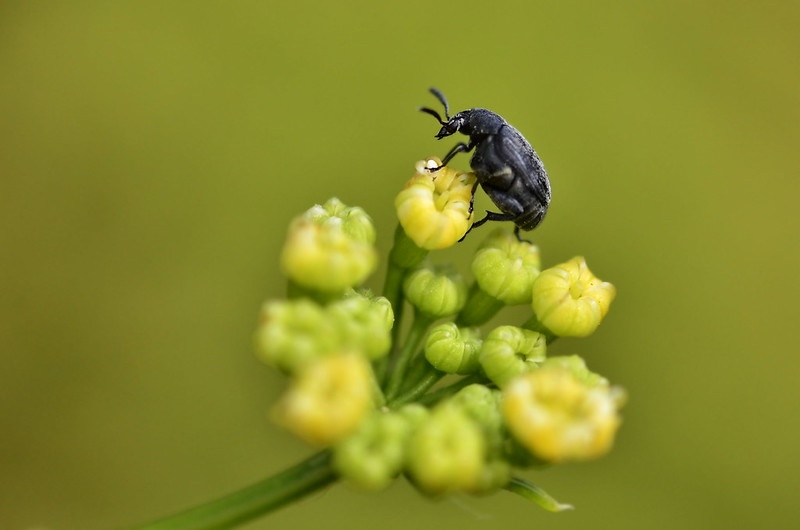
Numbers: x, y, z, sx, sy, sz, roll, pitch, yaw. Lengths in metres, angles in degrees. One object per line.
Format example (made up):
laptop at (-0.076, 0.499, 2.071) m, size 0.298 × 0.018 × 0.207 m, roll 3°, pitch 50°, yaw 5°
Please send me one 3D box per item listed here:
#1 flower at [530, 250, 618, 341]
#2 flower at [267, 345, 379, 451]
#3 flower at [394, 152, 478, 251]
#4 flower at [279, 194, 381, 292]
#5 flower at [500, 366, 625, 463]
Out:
flower at (0.345, 0.065, 1.621) m, size 0.155 × 0.117 × 0.110 m, roll -9°, pitch 32°, yaw -26°
flower at (-0.129, 0.270, 1.564) m, size 0.171 × 0.094 × 0.232 m, roll -12°, pitch 16°, yaw 1°
flower at (0.070, -0.115, 1.616) m, size 0.139 × 0.080 × 0.188 m, roll 24°, pitch 59°, yaw -23°
flower at (-0.124, -0.043, 1.635) m, size 0.194 × 0.142 × 0.178 m, roll 12°, pitch 26°, yaw 18°
flower at (0.271, 0.257, 1.543) m, size 0.189 × 0.091 × 0.158 m, roll -18°, pitch 31°, yaw 45°
